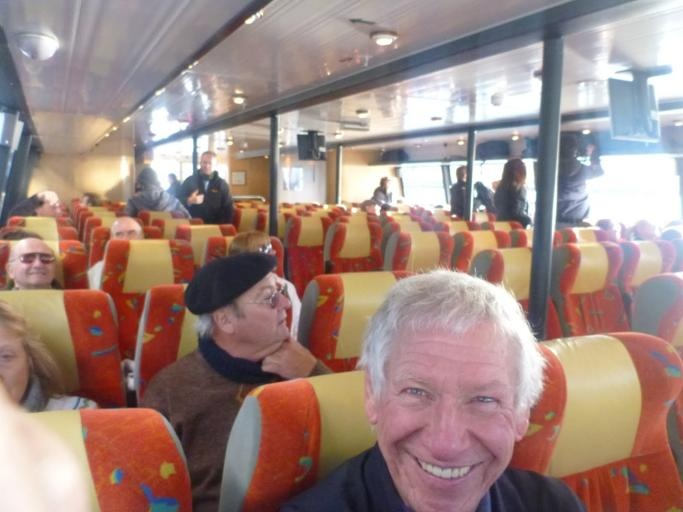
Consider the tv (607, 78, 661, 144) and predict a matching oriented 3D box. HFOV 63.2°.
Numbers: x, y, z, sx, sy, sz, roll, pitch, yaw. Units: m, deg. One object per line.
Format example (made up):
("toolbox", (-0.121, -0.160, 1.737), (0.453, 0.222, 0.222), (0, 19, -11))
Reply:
("tv", (2.648, -1.342, 5.180), (0.304, 0.590, 0.569), (-10, 16, -12))
